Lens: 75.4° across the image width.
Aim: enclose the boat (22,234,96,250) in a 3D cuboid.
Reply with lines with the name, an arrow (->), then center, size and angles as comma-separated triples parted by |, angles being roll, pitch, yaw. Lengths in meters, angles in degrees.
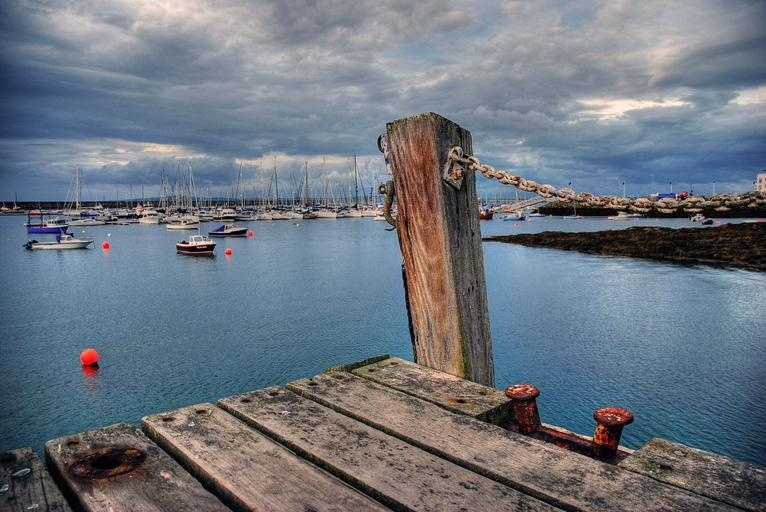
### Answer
boat -> -34.252, -1.529, 52.114 | 7.131, 1.897, 2.339 | -1, 5, -9
